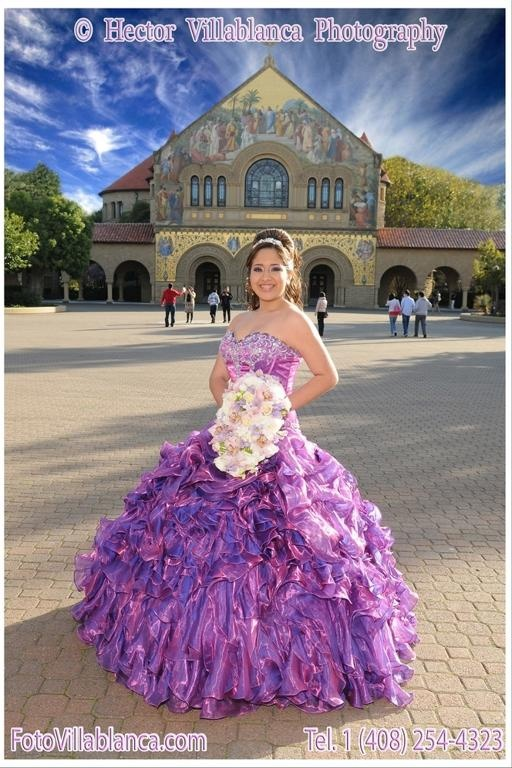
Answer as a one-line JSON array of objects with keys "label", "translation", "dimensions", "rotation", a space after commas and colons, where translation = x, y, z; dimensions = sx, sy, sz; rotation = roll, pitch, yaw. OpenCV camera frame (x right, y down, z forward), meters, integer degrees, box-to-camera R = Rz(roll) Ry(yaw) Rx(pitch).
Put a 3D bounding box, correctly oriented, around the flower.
[{"label": "flower", "translation": [0.006, 0.185, 2.505], "dimensions": [0.356, 0.441, 0.214], "rotation": [21, -1, 14]}]
